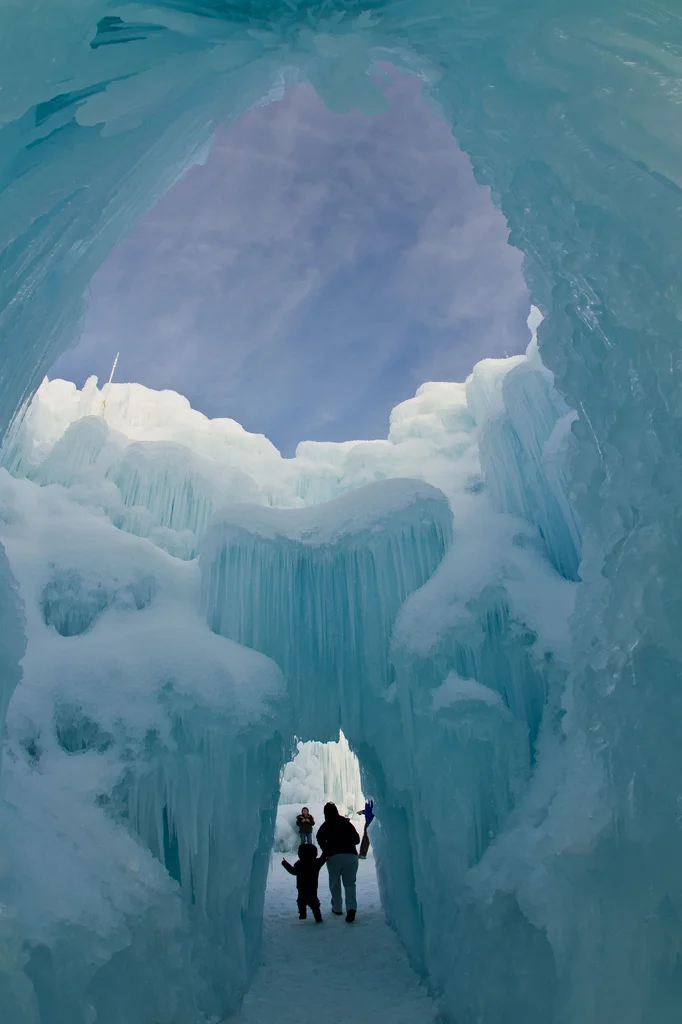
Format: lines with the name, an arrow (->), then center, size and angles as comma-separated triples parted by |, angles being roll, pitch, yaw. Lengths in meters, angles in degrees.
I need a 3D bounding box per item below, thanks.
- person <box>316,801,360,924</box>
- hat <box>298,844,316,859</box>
person -> -0.027, 3.297, 8.602 | 0.354, 1.147, 0.930 | -4, -3, -1
hat -> -0.307, 3.025, 8.237 | 0.142, 0.169, 0.221 | -4, -3, -2
